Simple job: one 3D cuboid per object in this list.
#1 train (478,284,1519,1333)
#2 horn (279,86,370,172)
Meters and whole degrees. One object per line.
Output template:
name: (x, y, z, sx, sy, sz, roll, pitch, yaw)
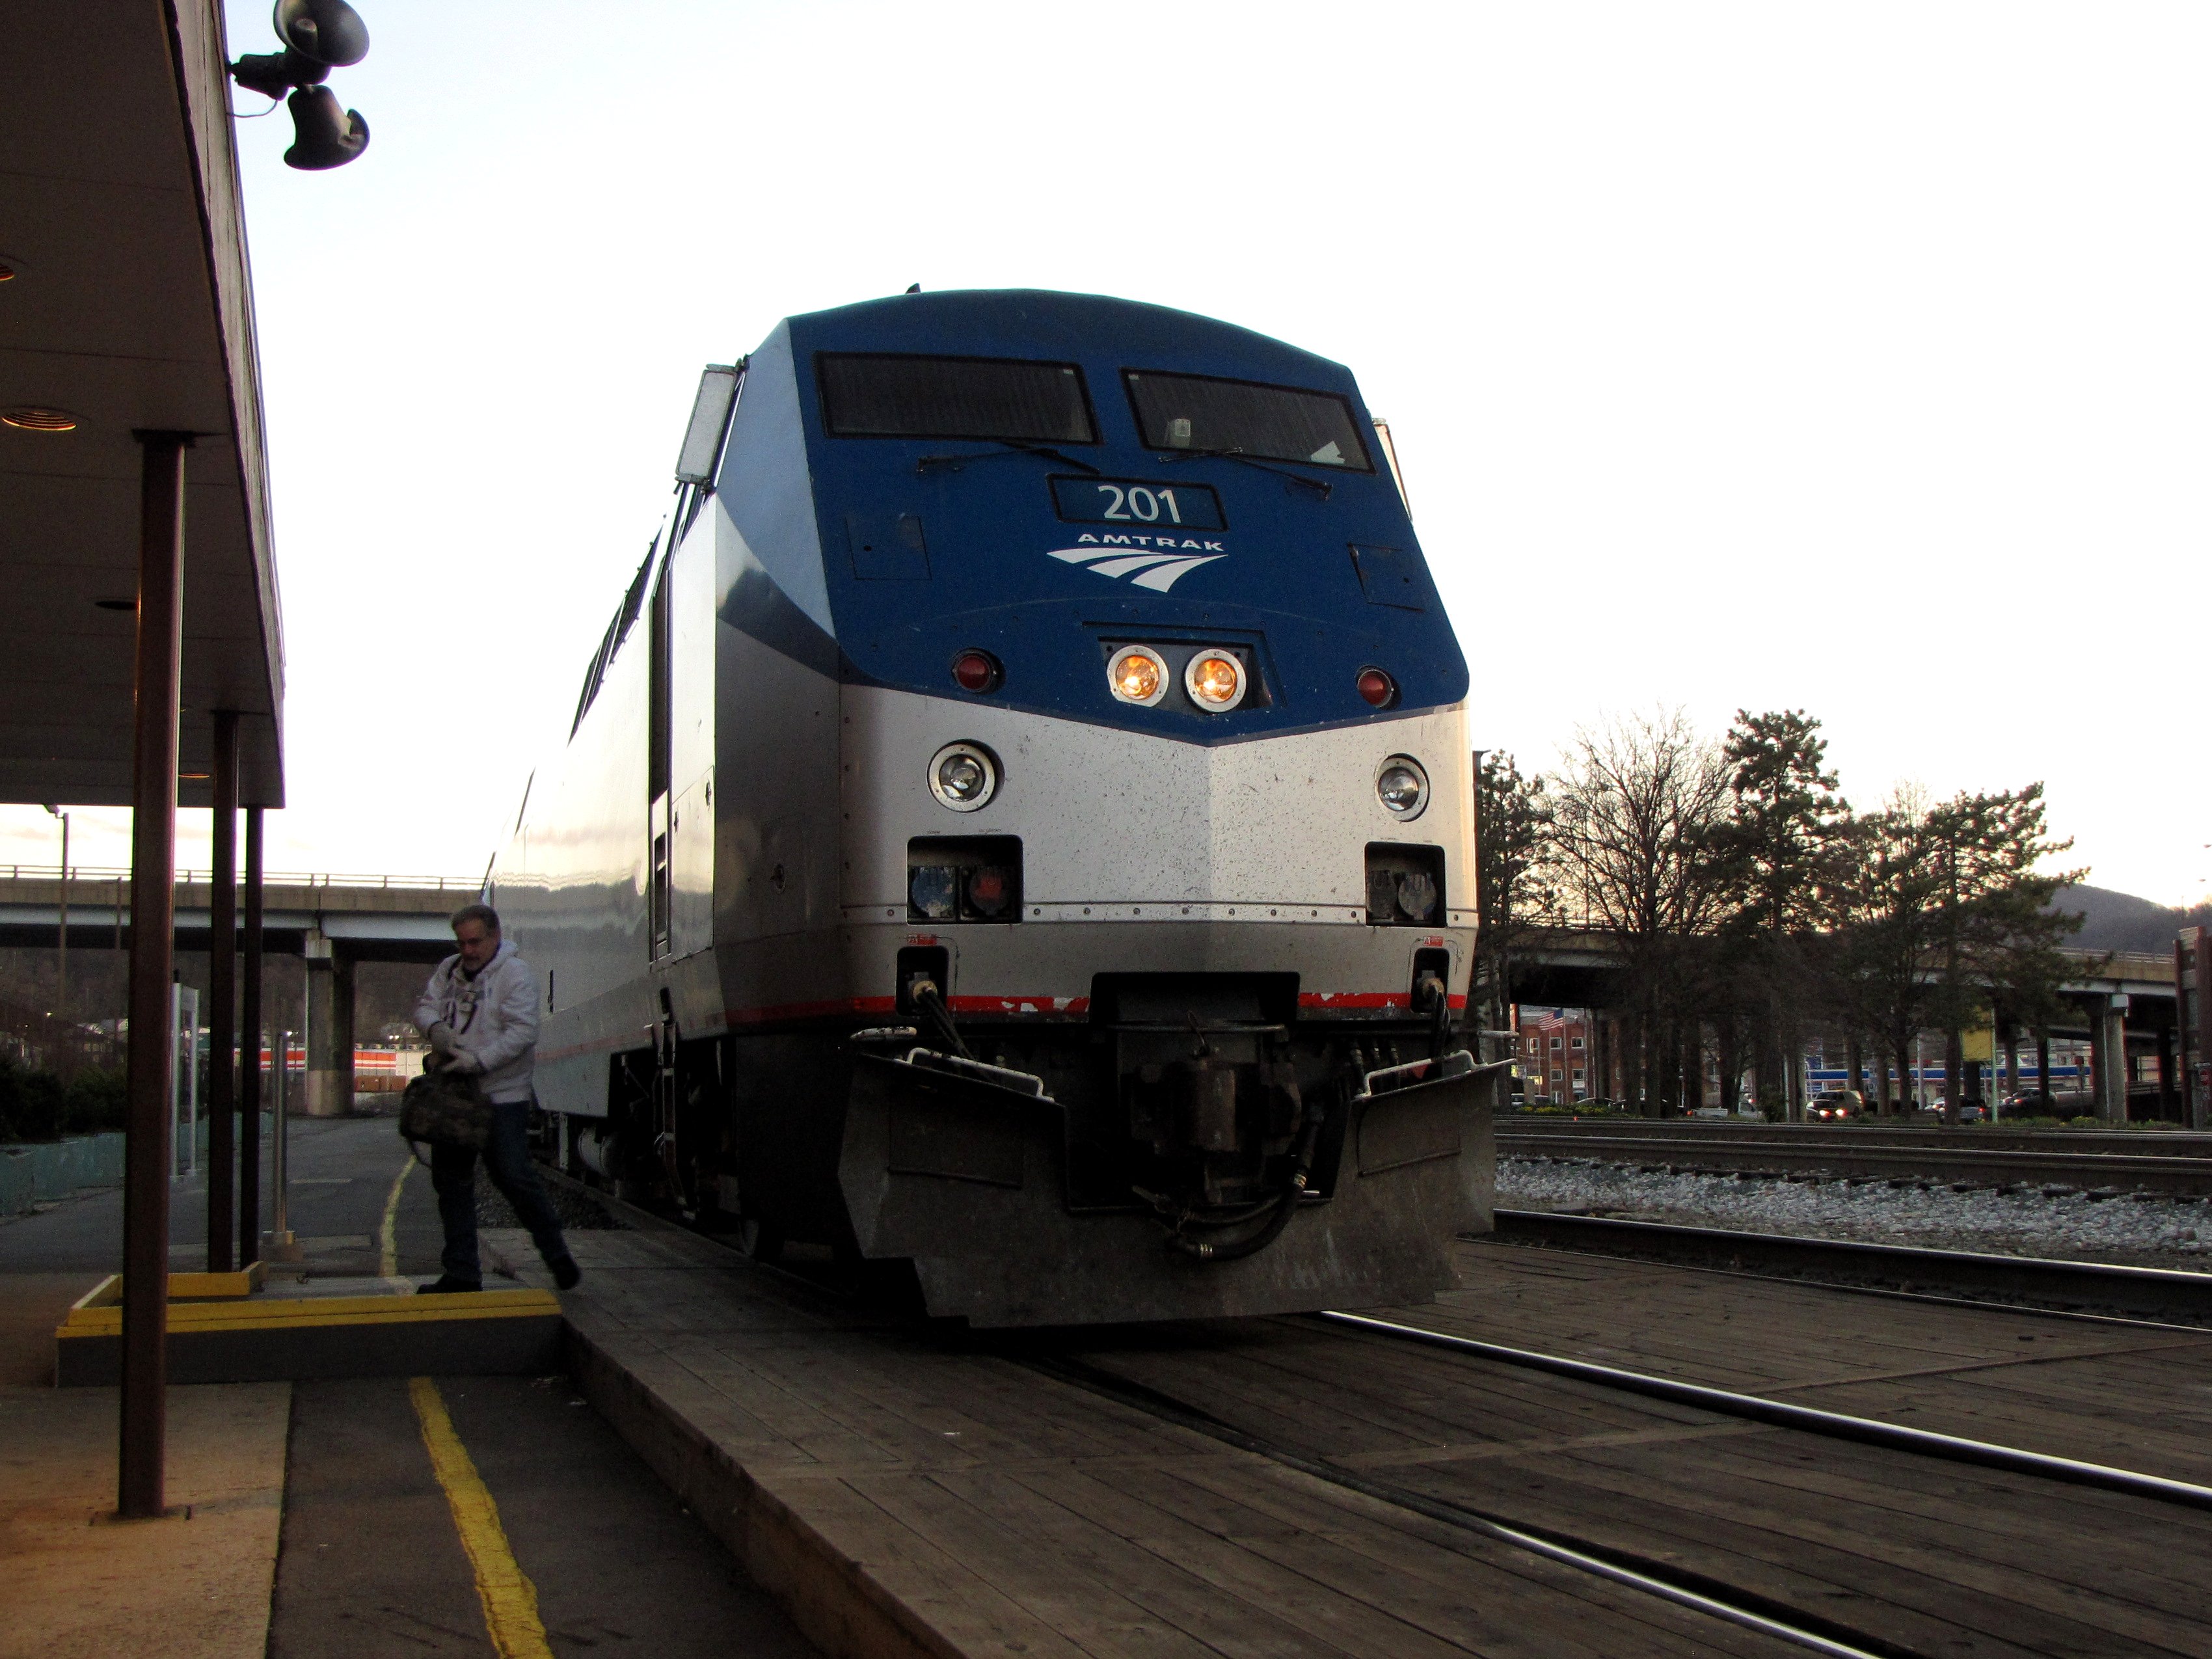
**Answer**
train: (-0.981, -0.165, 8.514, 5.166, 5.312, 2.551, -6, -11, 40)
horn: (-3.392, -3.048, 7.039, 0.294, 0.360, 0.215, 6, -10, -30)
